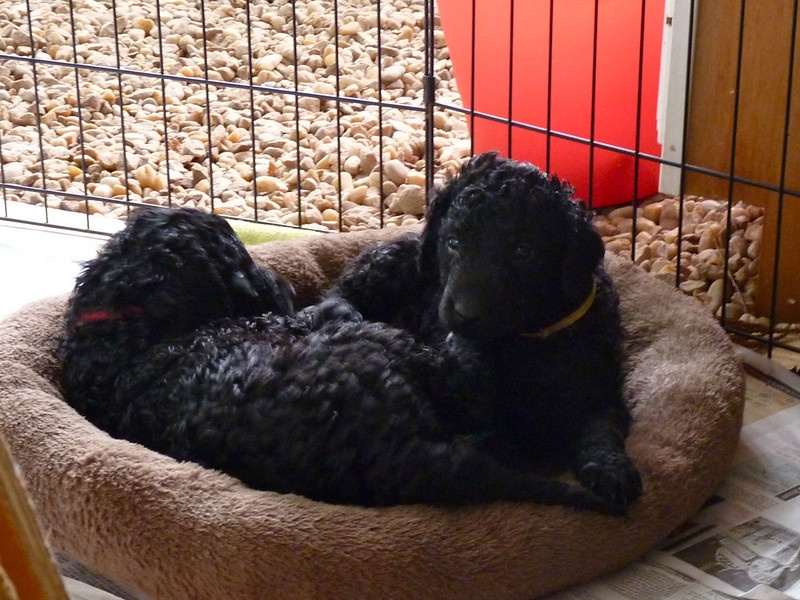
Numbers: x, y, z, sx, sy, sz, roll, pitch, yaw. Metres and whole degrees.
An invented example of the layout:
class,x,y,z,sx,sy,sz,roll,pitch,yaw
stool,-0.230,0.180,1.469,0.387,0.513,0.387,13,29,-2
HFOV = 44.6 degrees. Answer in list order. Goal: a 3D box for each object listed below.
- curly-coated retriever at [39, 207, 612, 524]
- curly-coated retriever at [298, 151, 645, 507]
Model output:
class,x,y,z,sx,sy,sz,roll,pitch,yaw
curly-coated retriever,-0.177,0.092,1.899,1.174,0.423,0.558,12,29,38
curly-coated retriever,0.160,-0.004,2.238,0.778,0.533,1.252,3,11,-11
